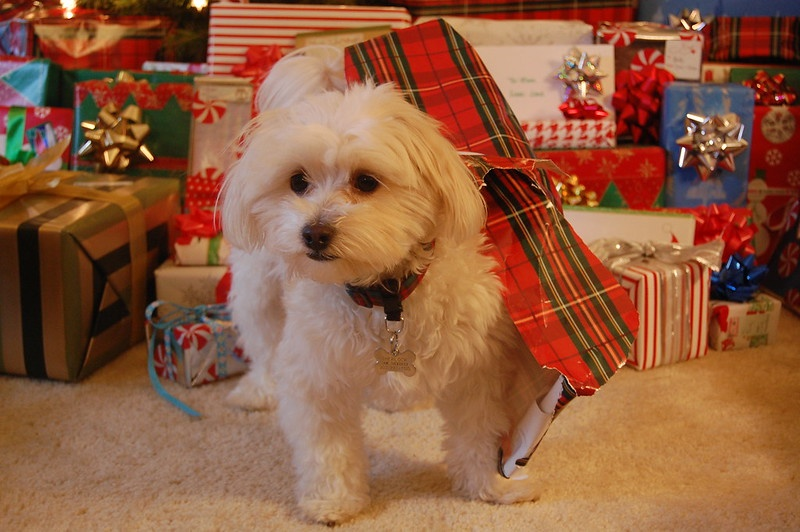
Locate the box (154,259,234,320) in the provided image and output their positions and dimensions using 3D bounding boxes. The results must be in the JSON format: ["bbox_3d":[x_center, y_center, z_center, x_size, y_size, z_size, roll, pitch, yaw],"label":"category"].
[{"bbox_3d":[-0.790,0.073,2.886,0.220,0.208,0.143,1,26,-1],"label":"box"}]

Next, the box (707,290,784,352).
[{"bbox_3d":[1.300,0.195,2.945,0.298,0.166,0.290,-9,18,-17],"label":"box"}]
